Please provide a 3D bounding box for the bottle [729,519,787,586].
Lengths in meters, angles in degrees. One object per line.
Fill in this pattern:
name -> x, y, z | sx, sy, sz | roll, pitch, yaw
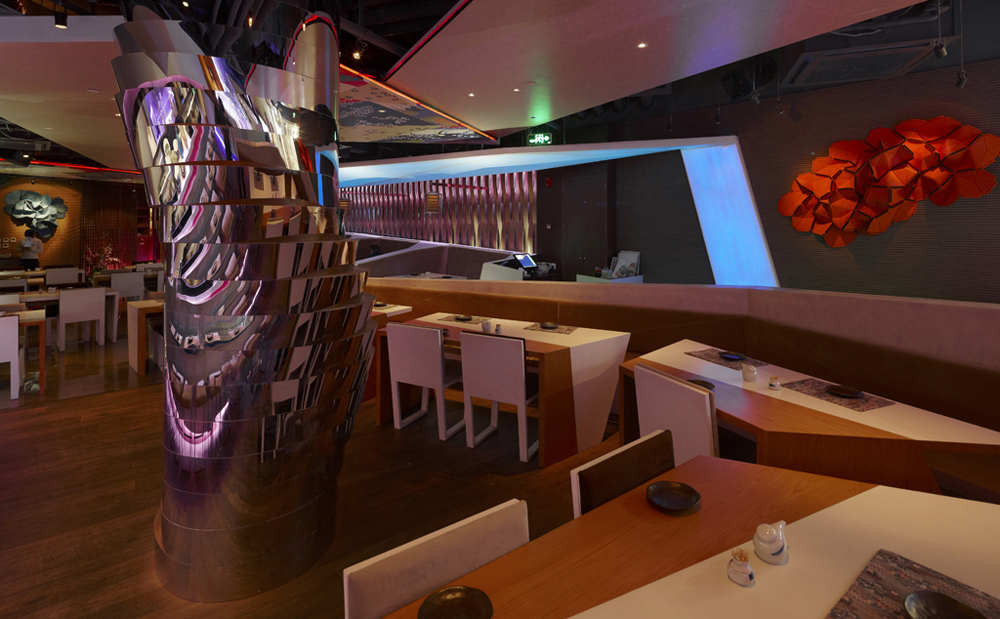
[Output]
bottle -> 1.349, 1.230, 3.109 | 0.385, 0.138, 0.218 | -15, 13, -31

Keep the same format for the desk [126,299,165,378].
desk -> -4.310, 0.322, 7.430 | 0.425, 0.804, 0.975 | -7, 10, -31

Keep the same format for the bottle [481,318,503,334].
bottle -> -0.076, 0.207, 5.785 | 0.225, 0.202, 0.123 | 5, 15, 27

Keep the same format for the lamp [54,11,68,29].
lamp -> -3.842, -2.574, 5.347 | 0.105, 0.141, 0.091 | -8, 10, -37
